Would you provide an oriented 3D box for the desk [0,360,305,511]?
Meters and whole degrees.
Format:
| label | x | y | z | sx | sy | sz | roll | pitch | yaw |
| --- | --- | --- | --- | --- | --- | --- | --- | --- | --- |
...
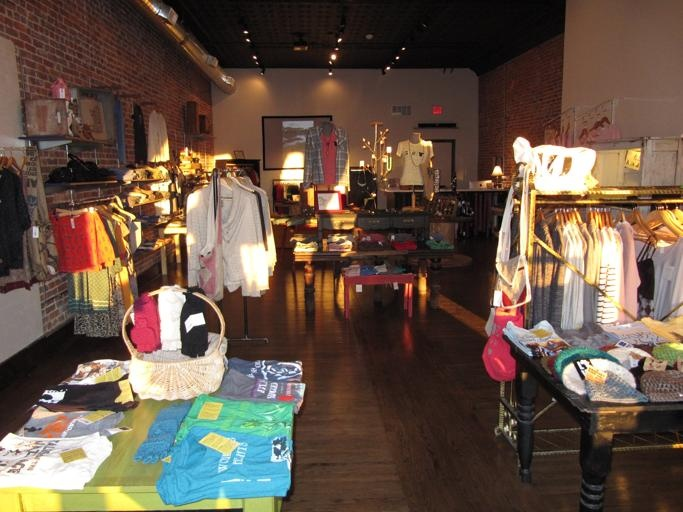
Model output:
| label | x | y | z | sx | sy | sz | roll | pitch | yaw |
| --- | --- | --- | --- | --- | --- | --- | --- | --- | --- |
| desk | -0.921 | 0.910 | 2.514 | 1.345 | 0.423 | 0.938 | 1 | 11 | 2 |

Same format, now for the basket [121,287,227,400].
| label | x | y | z | sx | sy | sz | roll | pitch | yaw |
| --- | --- | --- | --- | --- | --- | --- | --- | --- | --- |
| basket | -0.947 | 0.479 | 2.758 | 0.528 | 0.596 | 0.578 | -5 | 6 | -13 |

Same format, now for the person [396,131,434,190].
| label | x | y | z | sx | sy | sz | roll | pitch | yaw |
| --- | --- | --- | --- | --- | --- | --- | --- | --- | --- |
| person | 1.272 | -1.480 | 8.427 | 0.601 | 1.328 | 0.364 | 2 | -10 | 10 |
